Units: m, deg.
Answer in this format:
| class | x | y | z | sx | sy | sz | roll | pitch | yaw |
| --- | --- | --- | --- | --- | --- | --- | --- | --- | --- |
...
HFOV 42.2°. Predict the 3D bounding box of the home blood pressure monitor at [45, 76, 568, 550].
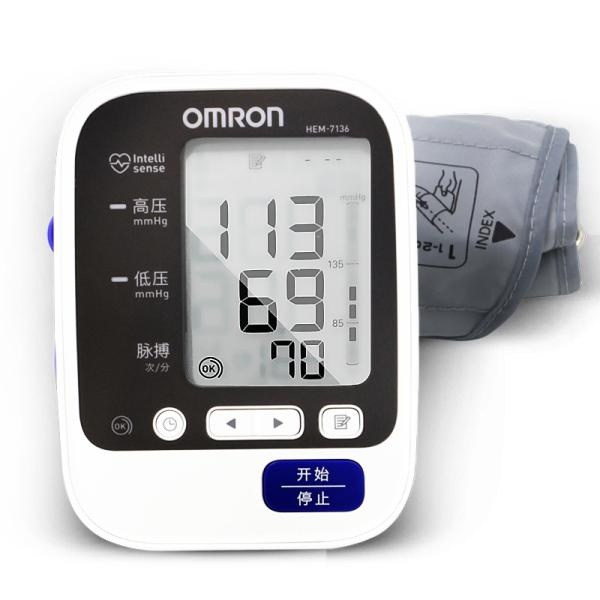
| class | x | y | z | sx | sy | sz | roll | pitch | yaw |
| --- | --- | --- | --- | --- | --- | --- | --- | --- | --- |
| home blood pressure monitor | -0.031 | 0.015 | 0.856 | 0.554 | 0.134 | 0.541 | 0 | 93 | -5 |
